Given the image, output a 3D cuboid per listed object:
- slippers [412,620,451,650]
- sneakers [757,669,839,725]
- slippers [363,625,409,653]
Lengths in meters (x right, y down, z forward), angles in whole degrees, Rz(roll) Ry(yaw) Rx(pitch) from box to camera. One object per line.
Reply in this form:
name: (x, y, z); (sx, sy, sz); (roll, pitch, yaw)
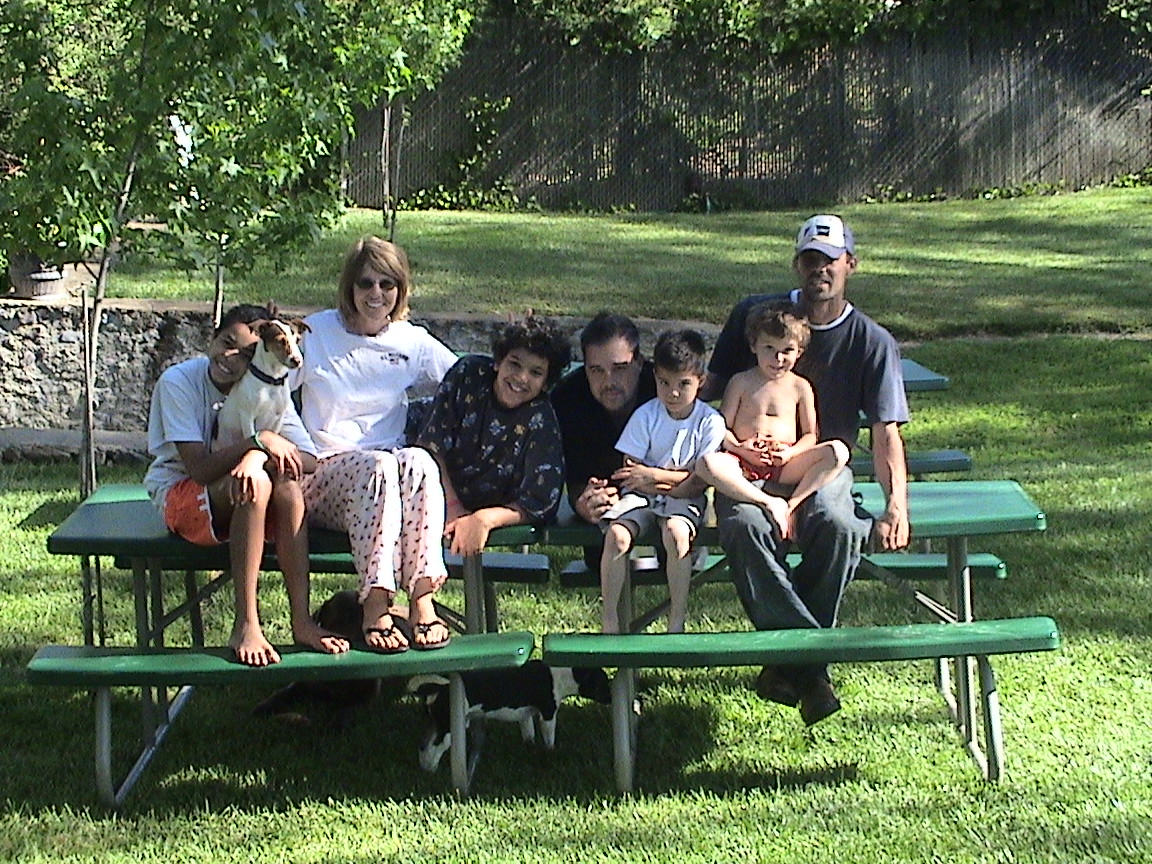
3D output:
slippers: (-0.661, 0.916, 6.260); (0.176, 0.118, 0.150); (0, 4, -9)
sneakers: (1.076, 1.296, 6.727); (0.133, 0.308, 0.376); (-17, 22, -25)
slippers: (-0.865, 0.933, 6.235); (0.206, 0.114, 0.127); (1, 4, -8)
